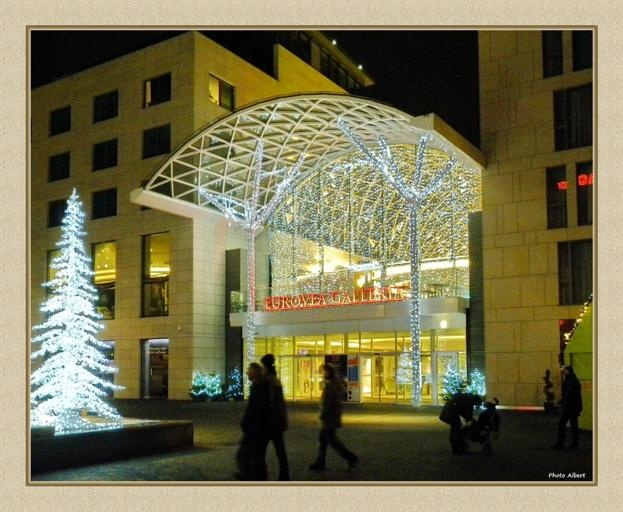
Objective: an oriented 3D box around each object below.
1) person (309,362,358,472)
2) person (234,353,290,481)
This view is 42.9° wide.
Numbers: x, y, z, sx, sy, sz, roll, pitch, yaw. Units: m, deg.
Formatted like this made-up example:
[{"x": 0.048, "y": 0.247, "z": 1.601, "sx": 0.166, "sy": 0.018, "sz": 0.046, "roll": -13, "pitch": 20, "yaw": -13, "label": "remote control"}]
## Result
[{"x": 0.440, "y": 3.535, "z": 17.525, "sx": 0.987, "sy": 2.260, "sz": 0.938, "roll": -1, "pitch": -7, "yaw": 1, "label": "person"}, {"x": -0.906, "y": 3.100, "z": 15.035, "sx": 1.049, "sy": 2.364, "sz": 0.403, "roll": 4, "pitch": -9, "yaw": -36, "label": "person"}]
